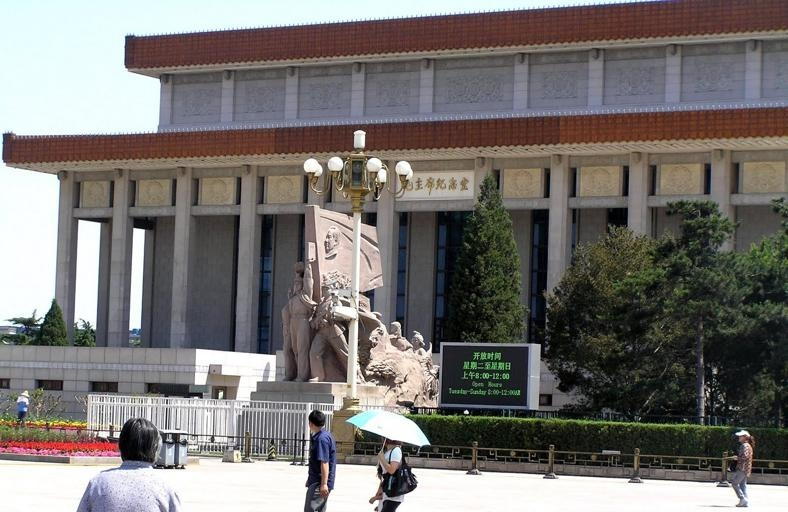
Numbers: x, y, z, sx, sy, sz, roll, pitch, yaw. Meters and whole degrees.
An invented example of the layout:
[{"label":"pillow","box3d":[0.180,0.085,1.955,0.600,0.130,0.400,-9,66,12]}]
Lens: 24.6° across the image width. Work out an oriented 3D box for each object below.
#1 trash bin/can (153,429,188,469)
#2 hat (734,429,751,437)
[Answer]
[{"label":"trash bin/can","box3d":[-9.563,8.296,77.771,1.727,1.405,1.323,7,-13,-40]},{"label":"hat","box3d":[14.231,7.240,74.072,0.681,0.307,0.501,6,-8,-13]}]
